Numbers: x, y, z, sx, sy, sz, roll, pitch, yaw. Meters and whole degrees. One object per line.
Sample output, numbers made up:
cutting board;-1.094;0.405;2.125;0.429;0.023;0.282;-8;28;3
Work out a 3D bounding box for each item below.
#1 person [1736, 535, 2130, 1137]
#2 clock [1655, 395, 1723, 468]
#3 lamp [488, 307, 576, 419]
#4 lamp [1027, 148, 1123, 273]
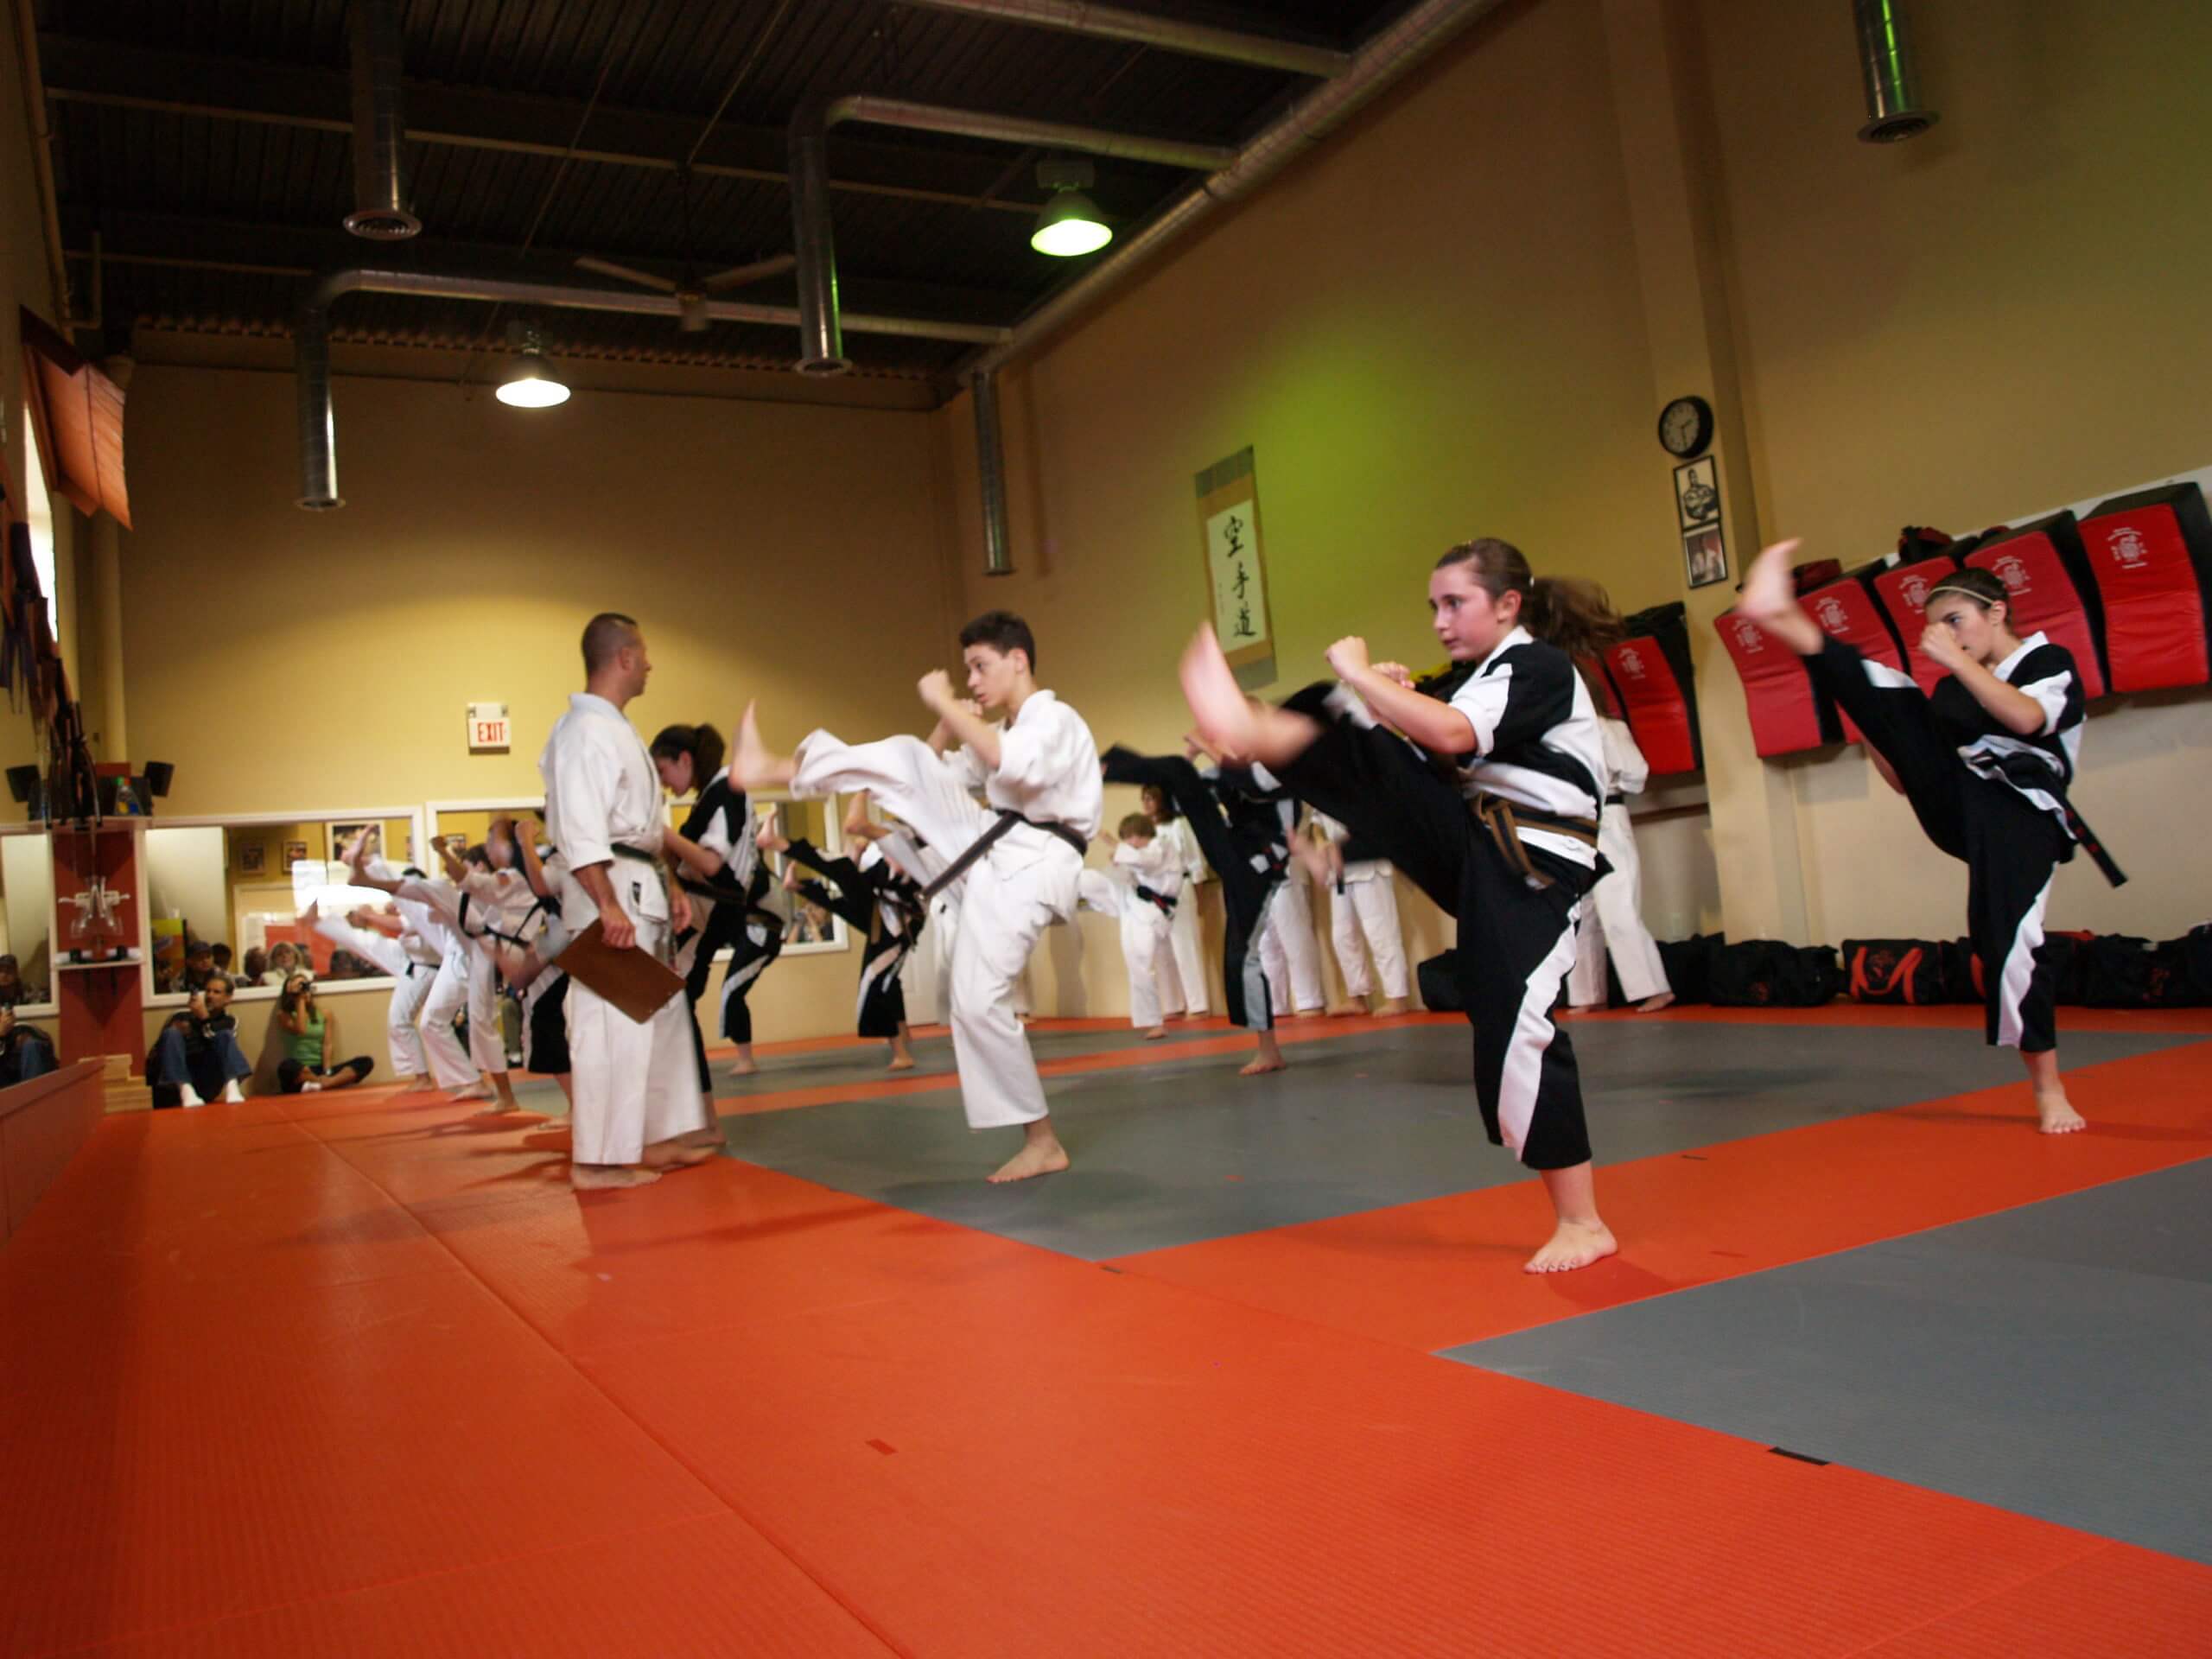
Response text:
person;2.178;0.025;3.970;1.351;1.464;0.483;-6;1;-44
clock;2.864;-1.965;7.669;0.069;0.336;0.305;-5;0;-28
lamp;-3.824;-3.111;10.314;0.376;0.634;0.532;-5;0;-21
lamp;-0.232;-3.734;9.359;0.532;0.687;0.617;-2;-8;-10
